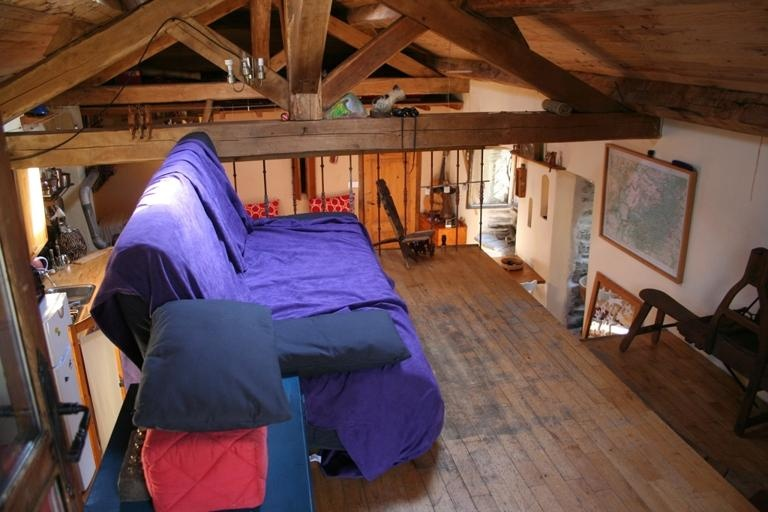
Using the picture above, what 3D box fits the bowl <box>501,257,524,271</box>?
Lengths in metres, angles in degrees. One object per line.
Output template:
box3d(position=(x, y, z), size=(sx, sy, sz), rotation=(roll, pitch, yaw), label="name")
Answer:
box3d(position=(1.995, 0.129, 8.318), size=(0.346, 0.120, 0.428), rotation=(1, 20, 13), label="bowl")

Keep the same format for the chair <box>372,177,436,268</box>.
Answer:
box3d(position=(0.194, -0.403, 6.158), size=(0.805, 0.779, 0.453), rotation=(8, 2, 3), label="chair")

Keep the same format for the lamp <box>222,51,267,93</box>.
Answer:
box3d(position=(-1.209, -1.621, 4.680), size=(0.349, 0.293, 0.327), rotation=(-8, 20, -11), label="lamp")
